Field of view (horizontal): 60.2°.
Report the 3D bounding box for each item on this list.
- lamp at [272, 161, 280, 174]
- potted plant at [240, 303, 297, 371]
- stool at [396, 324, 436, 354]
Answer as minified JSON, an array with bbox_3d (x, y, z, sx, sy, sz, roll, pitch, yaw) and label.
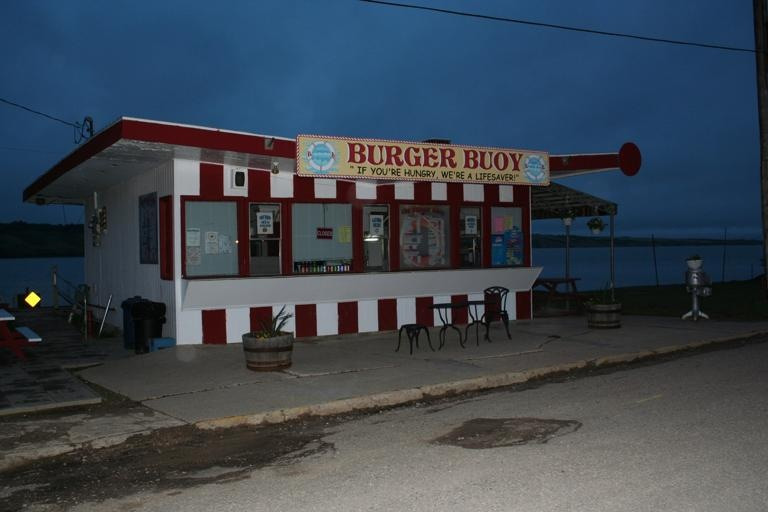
[{"bbox_3d":[-2.380,-1.937,14.524,0.172,0.194,0.265,1,5,-3],"label":"lamp"},{"bbox_3d":[-2.221,1.534,12.497,1.158,1.217,1.038,0,-2,-18],"label":"potted plant"},{"bbox_3d":[0.588,1.808,14.031,0.639,0.572,0.665,-6,-6,41],"label":"stool"}]
